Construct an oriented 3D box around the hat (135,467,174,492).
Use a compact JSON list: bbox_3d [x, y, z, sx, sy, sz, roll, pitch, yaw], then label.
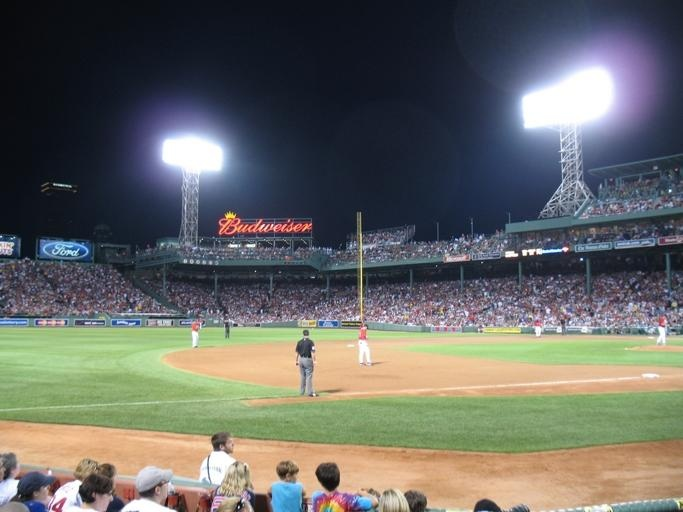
[{"bbox_3d":[-4.175,4.920,16.260,0.741,0.390,0.510,-8,7,-44],"label":"hat"}]
